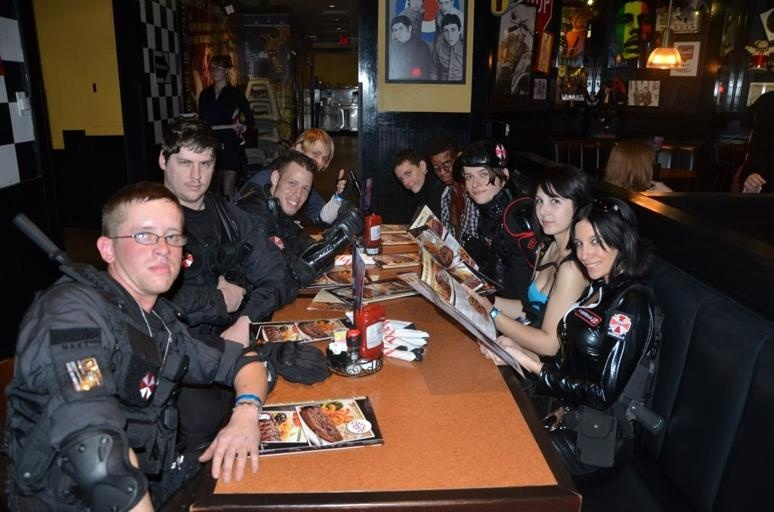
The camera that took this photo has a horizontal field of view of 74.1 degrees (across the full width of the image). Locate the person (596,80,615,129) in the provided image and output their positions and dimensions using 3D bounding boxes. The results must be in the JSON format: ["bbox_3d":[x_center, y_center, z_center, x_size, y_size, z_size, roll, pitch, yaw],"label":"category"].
[{"bbox_3d":[3.810,-2.605,8.778,0.297,0.972,0.266,8,58,27],"label":"person"}]

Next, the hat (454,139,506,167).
[{"bbox_3d":[0.677,-0.703,3.575,0.250,0.142,0.194,8,17,-8],"label":"hat"}]

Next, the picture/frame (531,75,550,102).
[{"bbox_3d":[2.171,-2.383,7.264,0.058,0.498,0.443,8,9,38],"label":"picture/frame"}]
